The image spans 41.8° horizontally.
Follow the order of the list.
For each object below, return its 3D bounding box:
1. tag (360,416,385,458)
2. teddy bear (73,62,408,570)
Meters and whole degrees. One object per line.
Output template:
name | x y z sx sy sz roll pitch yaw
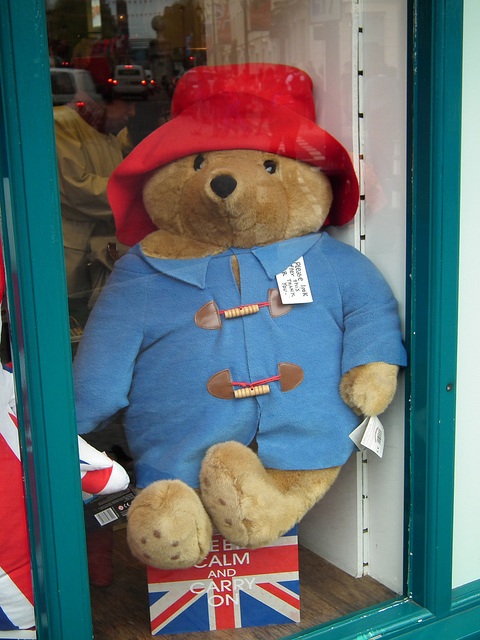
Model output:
tag | 0.325 0.284 1.530 0.031 0.087 0.109 2 -19 35
teddy bear | -0.018 -0.047 1.468 0.868 1.033 0.624 -2 15 -8
